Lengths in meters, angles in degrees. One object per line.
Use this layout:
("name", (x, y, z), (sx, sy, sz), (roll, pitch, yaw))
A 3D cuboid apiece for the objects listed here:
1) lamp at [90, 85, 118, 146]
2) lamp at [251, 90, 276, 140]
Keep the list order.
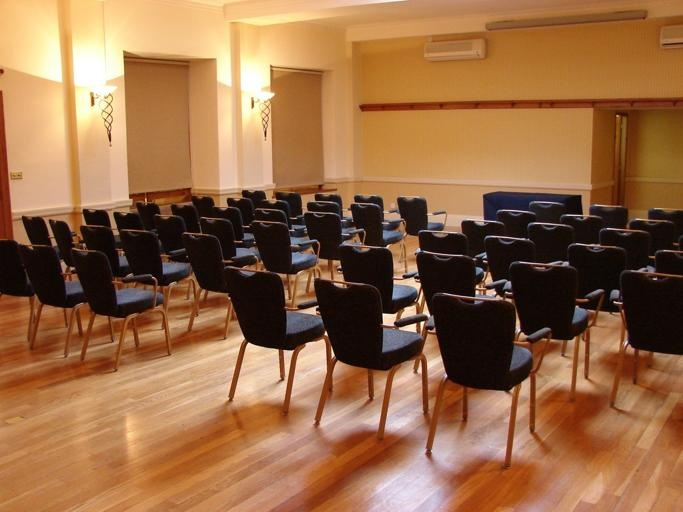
("lamp", (-3.922, -2.360, 8.630), (0.293, 0.974, 0.456), (6, 15, 27))
("lamp", (-1.611, -3.061, 11.024), (0.361, 1.078, 0.604), (5, 14, 23))
